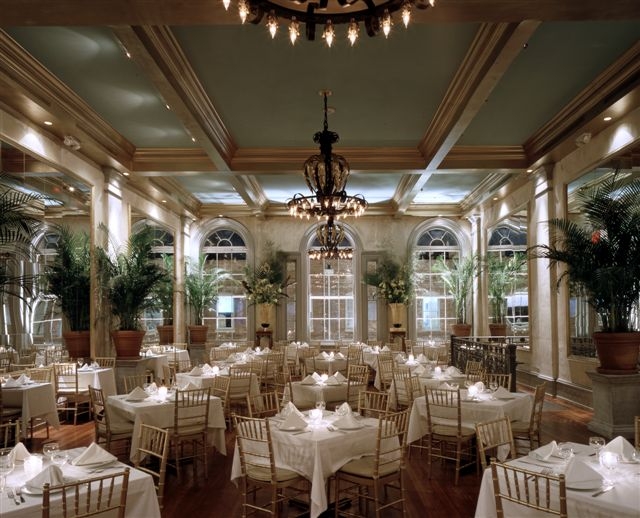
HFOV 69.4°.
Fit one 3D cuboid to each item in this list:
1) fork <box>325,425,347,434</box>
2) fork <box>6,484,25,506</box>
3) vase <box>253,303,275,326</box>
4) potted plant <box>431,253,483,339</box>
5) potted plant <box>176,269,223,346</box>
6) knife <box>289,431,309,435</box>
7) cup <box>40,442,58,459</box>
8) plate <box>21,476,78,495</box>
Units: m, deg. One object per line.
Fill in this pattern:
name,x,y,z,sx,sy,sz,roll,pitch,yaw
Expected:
fork,0.155,1.683,4.553,0.052,0.056,0.370,3,-7,-23
fork,-1.986,1.514,3.016,0.070,0.034,0.289,0,-3,-29
vase,-1.905,1.908,15.823,0.837,0.659,0.776,0,-13,-2
potted plant,4.730,1.222,16.050,1.303,2.817,1.396,-1,-7,-1
potted plant,-4.069,1.549,15.903,1.306,2.823,1.886,0,-7,-12
knife,-0.195,1.684,4.452,0.181,0.021,0.159,-1,-9,-1
cup,-1.965,1.406,3.386,0.092,0.111,0.133,3,-9,-32
plate,-1.749,1.473,2.992,0.235,0.035,0.243,1,-10,6
